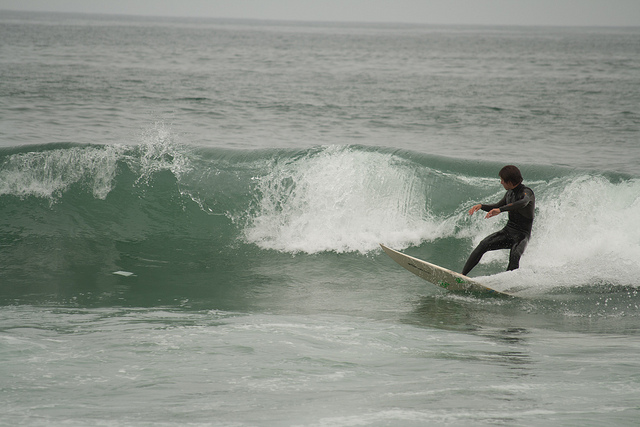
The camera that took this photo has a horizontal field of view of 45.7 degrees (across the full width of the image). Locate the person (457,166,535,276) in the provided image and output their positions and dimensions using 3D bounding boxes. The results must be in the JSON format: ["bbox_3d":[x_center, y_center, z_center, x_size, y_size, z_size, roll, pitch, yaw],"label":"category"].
[{"bbox_3d":[3.993,0.137,16.423,1.217,2.315,0.609,6,14,3],"label":"person"}]

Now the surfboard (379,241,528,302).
[{"bbox_3d":[3.047,1.354,17.062,3.343,0.356,0.240,20,15,14],"label":"surfboard"}]

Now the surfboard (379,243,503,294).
[{"bbox_3d":[2.769,1.281,17.247,3.957,0.486,0.233,12,35,25],"label":"surfboard"}]
